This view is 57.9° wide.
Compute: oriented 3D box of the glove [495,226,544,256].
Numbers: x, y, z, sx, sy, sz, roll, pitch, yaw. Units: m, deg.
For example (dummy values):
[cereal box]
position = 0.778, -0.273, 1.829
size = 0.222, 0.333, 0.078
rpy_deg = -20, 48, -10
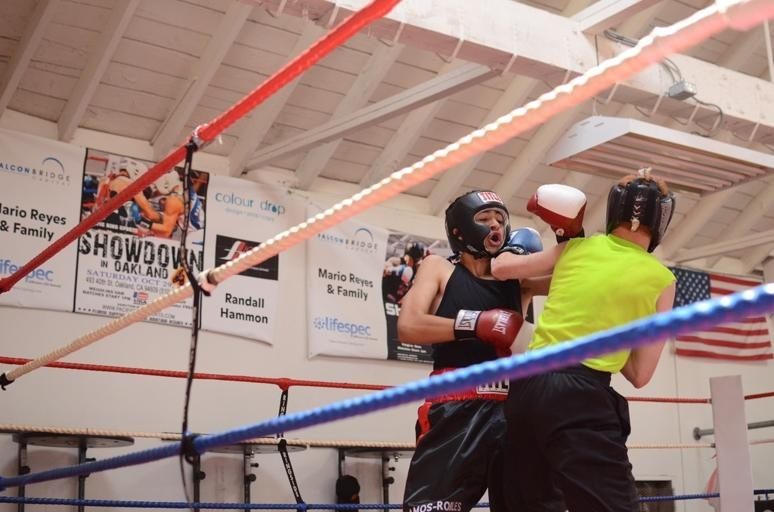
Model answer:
[glove]
position = 0.594, -0.066, 3.085
size = 0.151, 0.120, 0.171
rpy_deg = -31, -24, 29

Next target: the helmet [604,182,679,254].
[helmet]
position = 0.994, -0.184, 2.876
size = 0.253, 0.275, 0.301
rpy_deg = 26, -3, 9
